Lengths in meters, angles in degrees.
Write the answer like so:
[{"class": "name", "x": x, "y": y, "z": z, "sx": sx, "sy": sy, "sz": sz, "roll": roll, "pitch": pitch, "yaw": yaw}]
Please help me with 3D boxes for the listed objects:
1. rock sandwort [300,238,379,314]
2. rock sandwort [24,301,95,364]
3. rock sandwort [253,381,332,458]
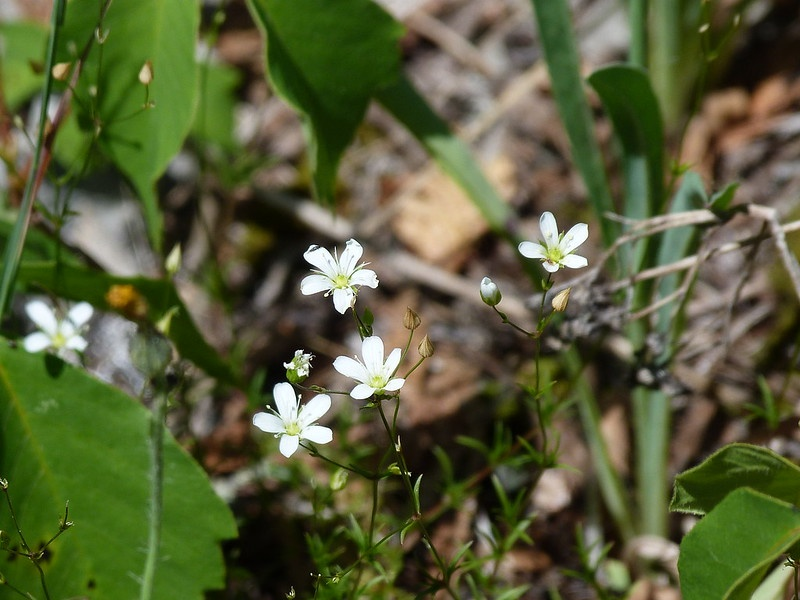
[{"class": "rock sandwort", "x": -0.117, "y": -0.058, "z": 1.646, "sx": 0.125, "sy": 0.055, "sz": 0.166, "roll": -15, "pitch": 76, "yaw": -1}, {"class": "rock sandwort", "x": -0.622, "y": 0.058, "z": 1.614, "sx": 0.105, "sy": 0.107, "sz": 0.099, "roll": -12, "pitch": 66, "yaw": 7}, {"class": "rock sandwort", "x": -0.191, "y": 0.219, "z": 1.557, "sx": 0.112, "sy": 0.139, "sz": 0.057, "roll": 14, "pitch": 89, "yaw": 0}]
